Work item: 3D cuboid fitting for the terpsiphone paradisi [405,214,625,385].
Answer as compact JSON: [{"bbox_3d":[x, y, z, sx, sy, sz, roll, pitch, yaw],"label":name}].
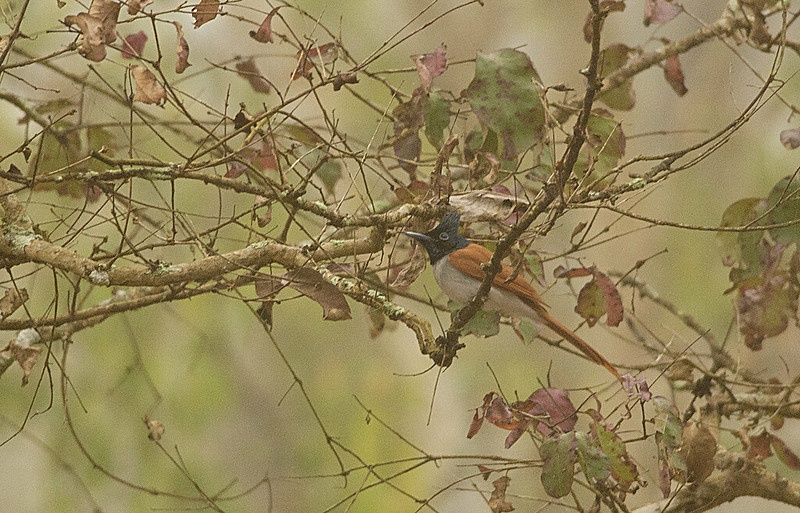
[{"bbox_3d":[0.709,0.284,6.730,1.846,0.481,0.866,17,74,5],"label":"terpsiphone paradisi"}]
